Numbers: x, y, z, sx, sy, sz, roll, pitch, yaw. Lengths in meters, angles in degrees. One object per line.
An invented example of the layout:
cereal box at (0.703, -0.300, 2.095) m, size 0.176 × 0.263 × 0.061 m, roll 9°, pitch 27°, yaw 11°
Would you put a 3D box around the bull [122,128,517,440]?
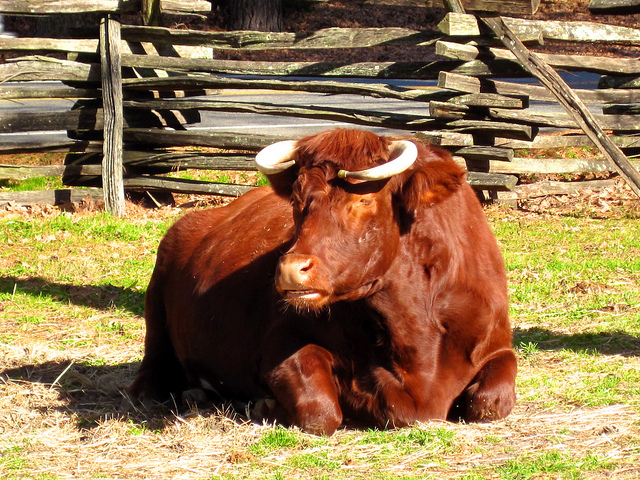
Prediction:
bull at (-0.060, 0.306, 6.754) m, size 2.758 × 2.328 × 1.579 m, roll 7°, pitch 10°, yaw 41°
